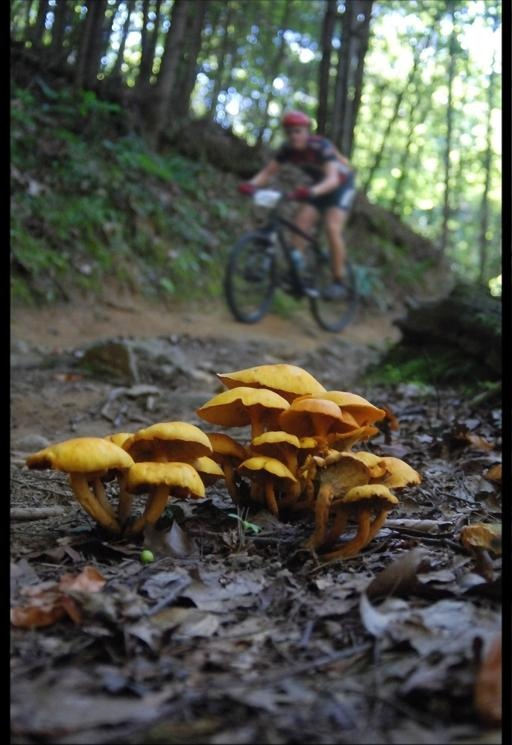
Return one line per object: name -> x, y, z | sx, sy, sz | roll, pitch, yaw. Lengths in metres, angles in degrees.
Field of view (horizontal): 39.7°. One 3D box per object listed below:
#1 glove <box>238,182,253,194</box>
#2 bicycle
glove -> -0.081, -1.419, 5.464 | 0.093, 0.040, 0.086 | -4, 0, 15
bicycle -> 0.194, -0.826, 5.939 | 0.836, 1.268, 0.876 | 0, 7, 43
